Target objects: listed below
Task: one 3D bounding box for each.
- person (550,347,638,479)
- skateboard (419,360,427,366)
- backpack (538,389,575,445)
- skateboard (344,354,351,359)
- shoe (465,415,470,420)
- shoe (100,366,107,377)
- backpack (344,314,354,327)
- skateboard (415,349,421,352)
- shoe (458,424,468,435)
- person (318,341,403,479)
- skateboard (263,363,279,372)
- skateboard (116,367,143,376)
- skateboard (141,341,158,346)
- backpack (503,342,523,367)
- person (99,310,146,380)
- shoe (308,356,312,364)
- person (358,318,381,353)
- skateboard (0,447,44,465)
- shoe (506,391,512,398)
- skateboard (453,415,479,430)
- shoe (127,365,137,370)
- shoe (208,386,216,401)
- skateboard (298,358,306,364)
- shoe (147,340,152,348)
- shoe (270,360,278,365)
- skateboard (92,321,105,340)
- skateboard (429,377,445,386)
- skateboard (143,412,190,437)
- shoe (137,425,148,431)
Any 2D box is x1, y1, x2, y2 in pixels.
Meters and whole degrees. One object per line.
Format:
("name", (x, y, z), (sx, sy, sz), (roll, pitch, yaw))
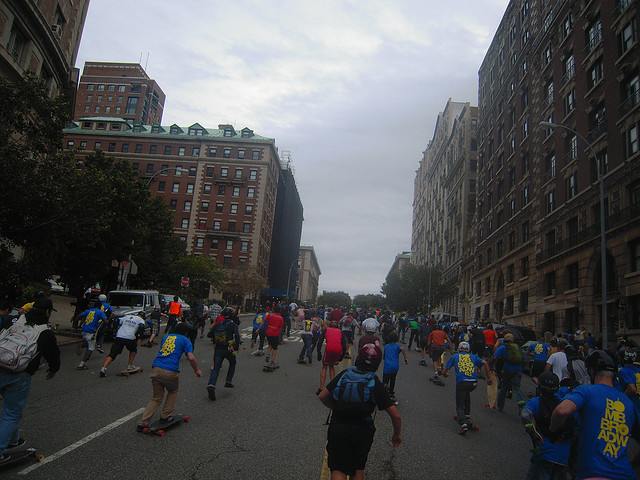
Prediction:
("person", (3.232, 2.026, 4.942), (0.966, 1.471, 0.348), (5, -9, 1))
("skateboard", (4.607, 5.575, 19.255), (0.132, 0.269, 0.375), (2, 3, -10))
("backpack", (3.243, 2.395, 5.770), (0.369, 0.752, 0.553), (14, -22, -20))
("skateboard", (1.131, 4.965, 18.184), (0.272, 0.281, 0.202), (2, -2, 4))
("shoe", (3.238, 3.858, 9.273), (0.058, 0.115, 0.060), (1, -11, -4))
("shoe", (-6.371, 3.805, 12.287), (0.202, 0.293, 0.397), (10, -11, -26))
("backpack", (1.005, 3.036, 15.770), (0.214, 0.356, 0.959), (4, -11, 8))
("skateboard", (5.501, 6.217, 23.971), (0.185, 0.060, 0.143), (12, 22, 3))
("shoe", (3.091, 4.062, 9.131), (0.204, 0.221, 0.147), (5, -10, 0))
("person", (0.484, 2.135, 5.354), (0.963, 1.625, 0.553), (12, -12, -34))
("skateboard", (-1.788, 4.407, 14.676), (0.441, 0.213, 0.577), (5, -10, 4))
("skateboard", (-5.814, 3.932, 12.848), (0.221, 0.099, 0.633), (-3, -4, 29))
("skateboard", (-8.136, 4.765, 19.697), (0.761, 0.351, 0.241), (4, -14, 2))
("backpack", (5.166, 3.073, 11.362), (0.486, 0.703, 0.371), (7, -37, -9))
("person", (-5.967, 3.149, 12.751), (0.695, 1.841, 1.234), (2, -10, 15))
("shoe", (-0.450, 4.698, 16.685), (0.104, 0.100, 0.386), (-10, -1, -1))
("person", (1.402, 2.981, 12.458), (0.569, 1.528, 0.432), (5, 14, 8))
("skateboard", (-4.609, 3.280, 6.492), (0.554, 0.164, 0.344), (13, -12, -34))
("shoe", (6.224, 5.043, 13.875), (0.100, 0.182, 0.175), (7, 16, 2))
("skateboard", (3.379, 4.070, 9.583), (0.357, 0.247, 0.689), (0, -16, 2))
("shoe", (-5.839, 3.876, 12.955), (0.240, 0.172, 0.097), (0, 0, -28))
("shoe", (-2.715, 3.741, 10.423), (0.128, 0.366, 0.235), (-4, -11, -3))
("skateboard", (-0.774, 4.777, 16.813), (0.262, 0.199, 0.462), (-5, -14, 45))
("shoe", (-7.748, 4.622, 18.981), (0.185, 0.298, 0.353), (9, -11, -22))
("shoe", (-1.692, 4.328, 15.061), (0.229, 0.170, 0.087), (-6, 5, -14))
("skateboard", (-7.504, 3.000, 14.142), (0.163, 0.485, 0.352), (-7, -21, 44))
("skateboard", (4.157, 4.972, 14.979), (0.184, 0.275, 0.685), (34, -10, 2))
("skateboard", (-3.044, 3.531, 8.205), (0.257, 0.113, 0.766), (3, 1, 18))
("shoe", (-3.367, 3.470, 7.863), (0.217, 0.119, 0.077), (2, -10, 19))
